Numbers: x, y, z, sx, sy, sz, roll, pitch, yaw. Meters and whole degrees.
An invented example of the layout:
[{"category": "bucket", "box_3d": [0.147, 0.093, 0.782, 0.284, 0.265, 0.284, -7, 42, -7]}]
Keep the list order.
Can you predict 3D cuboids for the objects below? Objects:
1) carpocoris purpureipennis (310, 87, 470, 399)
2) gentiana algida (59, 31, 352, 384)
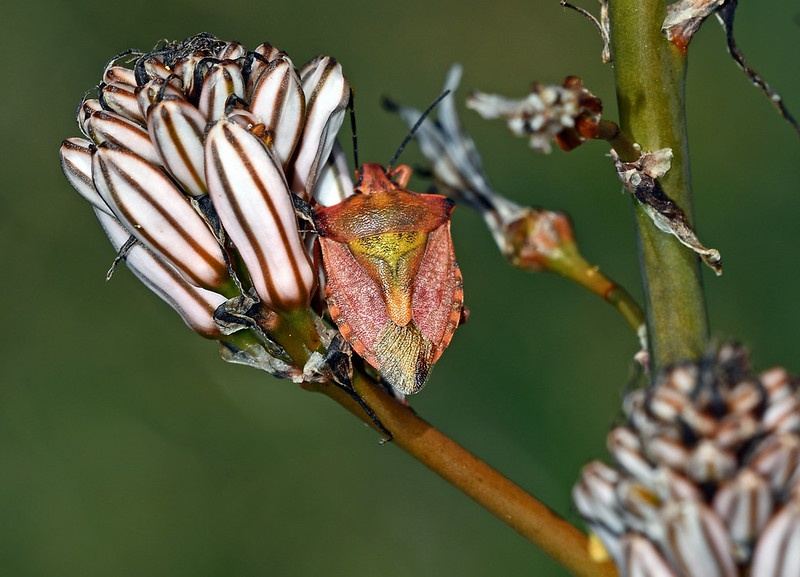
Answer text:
[{"category": "carpocoris purpureipennis", "box_3d": [-0.010, -0.065, 1.107, 0.177, 0.082, 0.327, -5, 70, -7]}, {"category": "gentiana algida", "box_3d": [-0.182, -0.089, 1.158, 0.260, 0.323, 0.201, -2, 27, 24]}]
